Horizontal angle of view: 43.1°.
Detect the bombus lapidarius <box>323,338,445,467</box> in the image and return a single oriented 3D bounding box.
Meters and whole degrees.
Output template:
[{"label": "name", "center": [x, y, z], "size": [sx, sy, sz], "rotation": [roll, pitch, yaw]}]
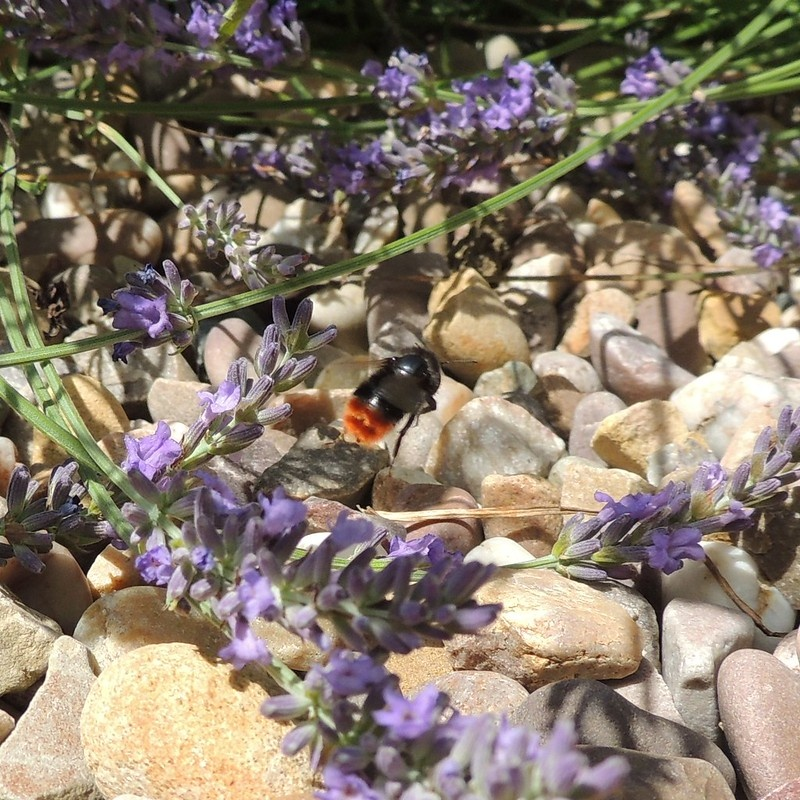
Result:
[{"label": "bombus lapidarius", "center": [-0.014, 0.001, 2.571], "size": [0.250, 0.091, 0.304], "rotation": [30, 65, 27]}]
